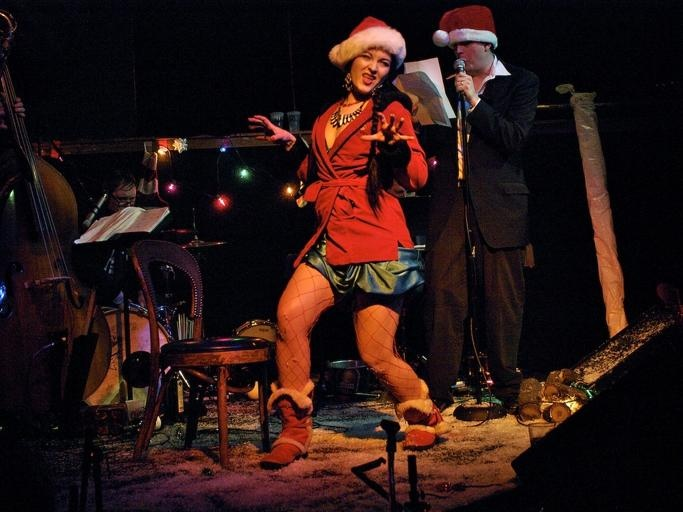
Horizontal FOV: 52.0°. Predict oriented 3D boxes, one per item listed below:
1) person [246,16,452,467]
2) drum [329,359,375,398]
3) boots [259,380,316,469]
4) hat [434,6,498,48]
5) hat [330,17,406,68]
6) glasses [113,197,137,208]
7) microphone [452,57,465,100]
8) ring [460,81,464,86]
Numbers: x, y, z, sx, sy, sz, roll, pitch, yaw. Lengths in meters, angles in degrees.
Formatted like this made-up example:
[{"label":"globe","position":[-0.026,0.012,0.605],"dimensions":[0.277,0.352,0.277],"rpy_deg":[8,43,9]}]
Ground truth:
[{"label":"person","position":[0.078,-0.140,3.792],"dimensions":[0.934,2.415,0.597],"rpy_deg":[0,2,-2]},{"label":"drum","position":[0.082,0.927,5.347],"dimensions":[0.339,0.244,0.290],"rpy_deg":[2,-10,-17]},{"label":"boots","position":[-0.286,0.877,3.663],"dimensions":[0.187,0.408,0.317],"rpy_deg":[1,2,40]},{"label":"hat","position":[0.787,-1.464,4.421],"dimensions":[0.419,0.264,0.300],"rpy_deg":[1,3,7]},{"label":"hat","position":[0.143,-1.183,3.955],"dimensions":[0.358,0.247,0.273],"rpy_deg":[-8,-4,33]},{"label":"glasses","position":[-1.754,-0.434,5.632],"dimensions":[0.143,0.096,0.173],"rpy_deg":[0,-4,-25]},{"label":"microphone","position":[0.727,-1.103,4.307],"dimensions":[0.078,0.267,0.076],"rpy_deg":[0,1,-21]},{"label":"ring","position":[0.718,-1.034,4.199],"dimensions":[0.020,0.024,0.003],"rpy_deg":[0,2,8]}]
